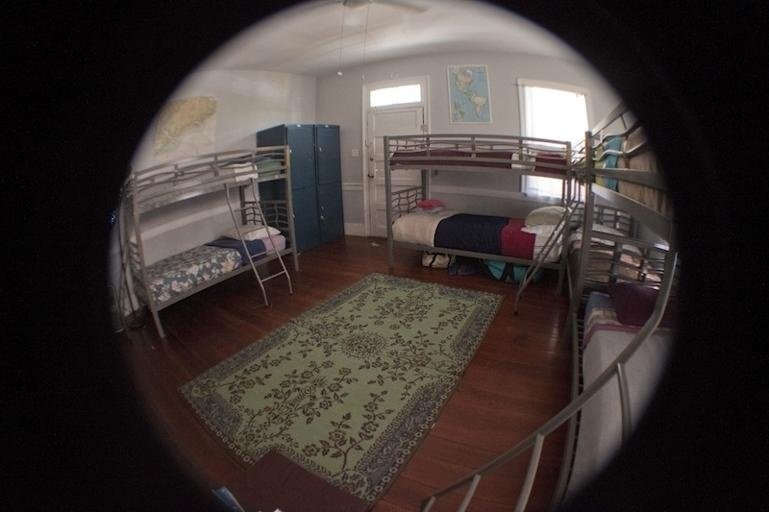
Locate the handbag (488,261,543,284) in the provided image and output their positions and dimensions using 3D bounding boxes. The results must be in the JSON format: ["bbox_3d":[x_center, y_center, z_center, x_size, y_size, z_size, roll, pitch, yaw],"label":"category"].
[{"bbox_3d":[0.934,0.130,3.577,0.193,0.071,0.199,7,21,44],"label":"handbag"}]

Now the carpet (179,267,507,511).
[{"bbox_3d":[-0.192,0.593,2.028,0.613,0.012,1.019,16,26,24],"label":"carpet"}]

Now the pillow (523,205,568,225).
[{"bbox_3d":[0.996,-0.234,2.907,0.217,0.067,0.229,-2,27,32],"label":"pillow"}]

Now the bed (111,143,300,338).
[{"bbox_3d":[-0.599,-0.088,1.553,0.371,0.461,0.576,11,23,33],"label":"bed"}]
